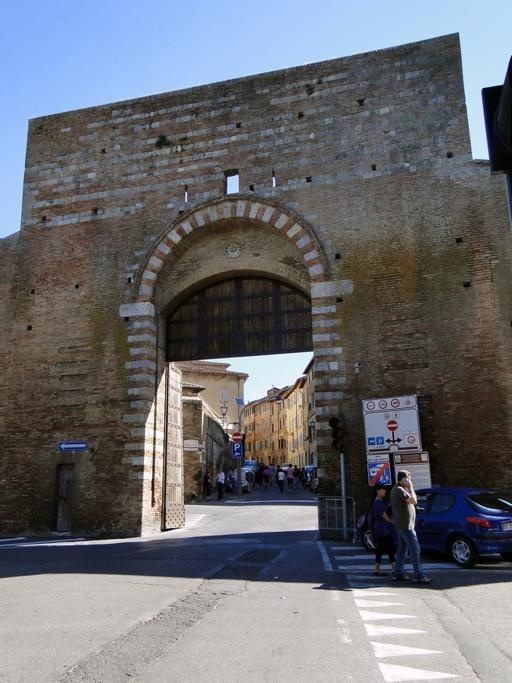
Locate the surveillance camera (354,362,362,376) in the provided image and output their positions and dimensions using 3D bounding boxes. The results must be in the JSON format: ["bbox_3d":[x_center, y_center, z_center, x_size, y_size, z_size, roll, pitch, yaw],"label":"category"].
[{"bbox_3d":[2.308,0.595,13.301,0.179,0.293,0.108,-4,-13,9],"label":"surveillance camera"}]

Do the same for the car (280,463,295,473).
[{"bbox_3d":[1.933,7.577,35.735,0.888,0.687,1.547,1,-19,-7],"label":"car"}]

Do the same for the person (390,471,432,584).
[{"bbox_3d":[1.927,2.339,7.491,0.414,1.333,0.595,-4,-13,10],"label":"person"}]

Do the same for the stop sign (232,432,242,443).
[{"bbox_3d":[-0.825,4.117,25.244,0.381,0.443,0.610,-1,-12,-2],"label":"stop sign"}]

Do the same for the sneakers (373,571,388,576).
[{"bbox_3d":[1.682,3.116,7.895,0.195,0.075,0.064,2,-12,-5],"label":"sneakers"}]

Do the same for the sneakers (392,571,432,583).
[{"bbox_3d":[1.932,2.905,7.208,0.500,0.184,0.164,-3,-19,8],"label":"sneakers"}]

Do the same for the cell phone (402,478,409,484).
[{"bbox_3d":[1.971,1.857,7.793,0.063,0.059,0.088,-22,-26,-17],"label":"cell phone"}]
